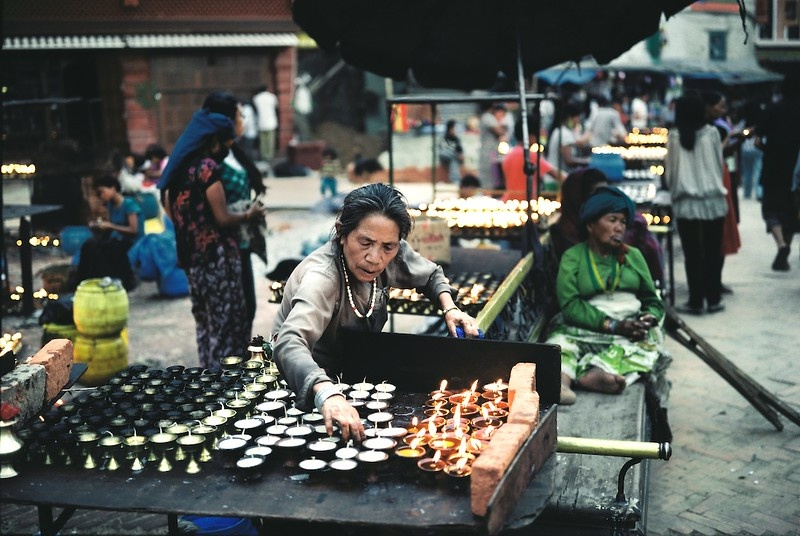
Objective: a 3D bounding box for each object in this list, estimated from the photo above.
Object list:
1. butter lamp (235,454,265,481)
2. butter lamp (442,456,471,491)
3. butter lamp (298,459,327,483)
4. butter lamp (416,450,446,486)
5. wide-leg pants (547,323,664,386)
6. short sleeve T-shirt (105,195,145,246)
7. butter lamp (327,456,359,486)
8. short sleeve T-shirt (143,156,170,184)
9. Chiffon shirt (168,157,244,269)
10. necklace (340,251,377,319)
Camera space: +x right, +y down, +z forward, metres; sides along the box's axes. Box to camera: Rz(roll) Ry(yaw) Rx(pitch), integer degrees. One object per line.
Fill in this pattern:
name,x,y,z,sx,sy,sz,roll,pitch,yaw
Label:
butter lamp,-0.860,1.132,4.940,0.117,0.059,0.122,18,38,27
butter lamp,0.337,1.152,4.866,0.155,0.148,0.163,3,1,-30
butter lamp,-0.489,1.141,4.920,0.109,0.083,0.113,1,10,1
butter lamp,0.179,1.129,4.890,0.160,0.165,0.166,-2,13,-4
wide-leg pants,1.667,0.699,7.045,0.914,0.423,0.477,1,7,14
short sleeve T-shirt,-2.236,-0.400,7.015,0.339,0.386,0.215,-10,7,33
butter lamp,-0.313,1.145,4.889,0.126,0.079,0.130,-2,13,-12
short sleeve T-shirt,-1.955,-0.790,6.927,0.125,0.190,0.139,11,33,-8
Chiffon shirt,-1.582,-0.439,6.939,0.672,0.694,0.378,-12,19,-14
necklace,-0.260,0.106,5.560,0.077,0.414,0.226,1,5,43
